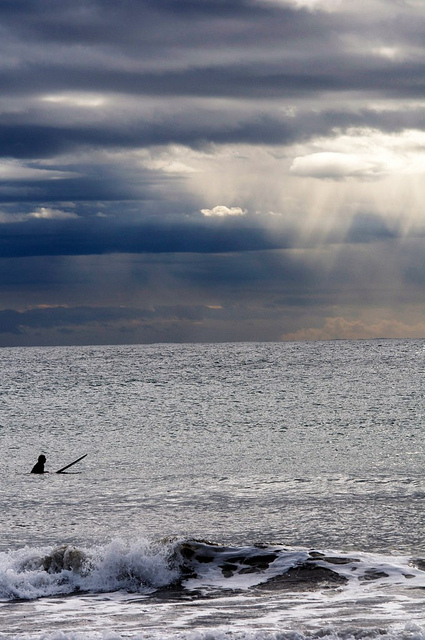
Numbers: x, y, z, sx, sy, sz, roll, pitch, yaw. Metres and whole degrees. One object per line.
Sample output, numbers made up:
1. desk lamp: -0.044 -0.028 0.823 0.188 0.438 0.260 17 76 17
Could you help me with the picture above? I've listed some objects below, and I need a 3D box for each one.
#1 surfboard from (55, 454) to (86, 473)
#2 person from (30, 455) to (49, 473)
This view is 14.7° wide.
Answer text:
1. surfboard: -5.175 5.212 59.472 1.550 0.208 0.074 -26 -16 29
2. person: -6.009 5.002 57.119 0.574 0.741 0.557 5 -1 44
